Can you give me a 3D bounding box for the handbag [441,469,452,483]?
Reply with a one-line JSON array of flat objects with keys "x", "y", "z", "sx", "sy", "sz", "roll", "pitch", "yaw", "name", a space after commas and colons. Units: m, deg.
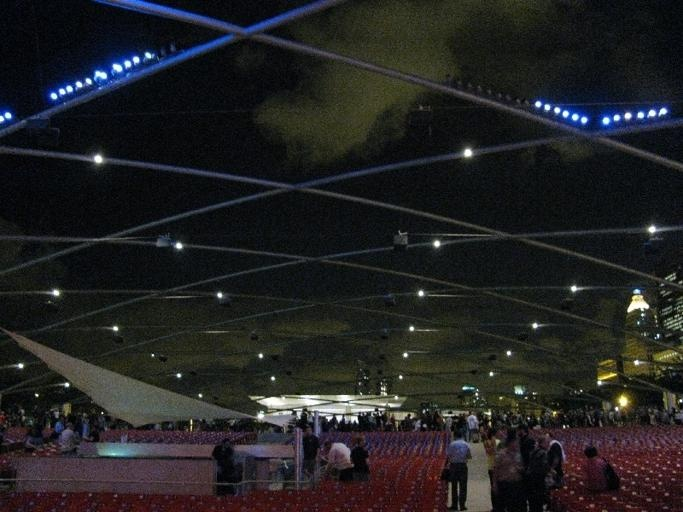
[{"x": 3.483, "y": 7.488, "z": 22.844, "sx": 0.401, "sy": 0.341, "sz": 0.656, "roll": -1, "pitch": -10, "yaw": 6, "name": "handbag"}]
